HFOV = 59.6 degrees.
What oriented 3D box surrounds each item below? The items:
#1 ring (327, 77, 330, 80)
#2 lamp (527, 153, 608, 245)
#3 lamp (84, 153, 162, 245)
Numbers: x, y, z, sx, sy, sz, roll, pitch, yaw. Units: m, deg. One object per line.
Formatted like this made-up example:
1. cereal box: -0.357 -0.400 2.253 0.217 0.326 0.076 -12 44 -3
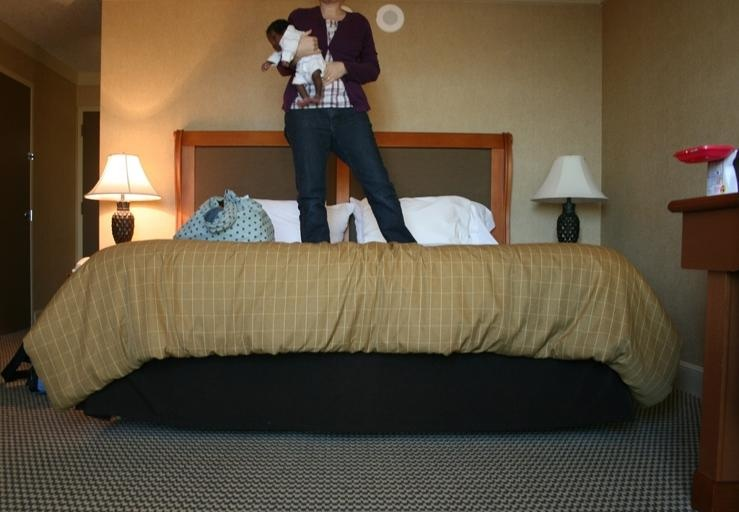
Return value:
1. ring: -0.247 -1.070 3.896 0.015 0.018 0.005 -1 0 -1
2. lamp: 1.459 -0.367 4.671 0.397 0.674 0.418 2 0 31
3. lamp: -1.775 -0.363 4.673 0.445 0.710 0.477 0 -1 -16
